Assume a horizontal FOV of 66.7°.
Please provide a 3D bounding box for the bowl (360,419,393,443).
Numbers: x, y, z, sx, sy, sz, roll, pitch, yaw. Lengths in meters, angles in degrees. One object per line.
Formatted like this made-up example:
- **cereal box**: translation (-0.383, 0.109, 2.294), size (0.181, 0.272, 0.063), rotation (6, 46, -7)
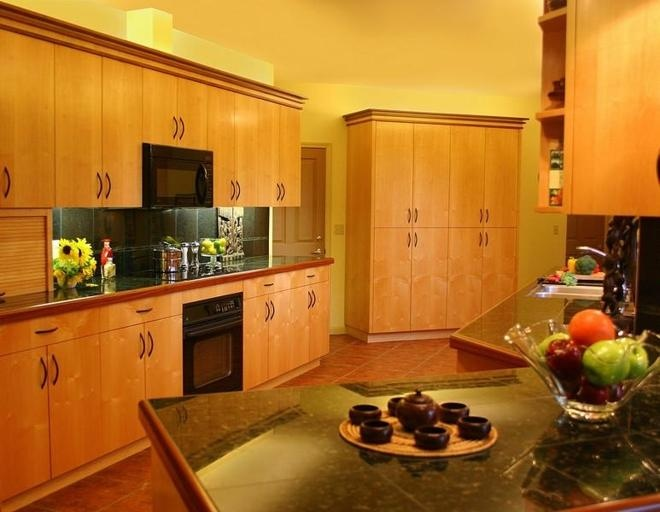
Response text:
- **bowl**: translation (0.129, 0.499, 1.430), size (0.059, 0.027, 0.060), rotation (-3, 2, 0)

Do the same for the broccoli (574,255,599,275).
- **broccoli**: translation (2.403, 0.091, 4.773), size (0.183, 0.185, 0.174), rotation (-5, -1, -26)

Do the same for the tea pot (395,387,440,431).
- **tea pot**: translation (0.254, 0.448, 1.508), size (0.109, 0.105, 0.108), rotation (-3, -1, 0)

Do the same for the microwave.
- **microwave**: translation (-1.285, -0.675, 4.203), size (0.443, 0.535, 0.828), rotation (2, 3, 24)

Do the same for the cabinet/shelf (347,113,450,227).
- **cabinet/shelf**: translation (0.948, -1.138, 6.558), size (1.485, 1.975, 0.758), rotation (-1, 2, -25)

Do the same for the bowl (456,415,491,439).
- **bowl**: translation (0.416, 0.490, 1.453), size (0.062, 0.035, 0.065), rotation (-2, -5, 0)

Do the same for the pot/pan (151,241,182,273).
- **pot/pan**: translation (-1.386, 0.003, 4.394), size (0.264, 0.287, 0.265), rotation (0, 1, -6)

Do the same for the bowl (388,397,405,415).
- **bowl**: translation (0.208, 0.459, 1.571), size (0.063, 0.042, 0.067), rotation (0, -4, 0)

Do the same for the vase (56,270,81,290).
- **vase**: translation (-1.789, 0.165, 3.444), size (0.131, 0.093, 0.127), rotation (1, 3, -12)

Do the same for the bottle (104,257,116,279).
- **bottle**: translation (-1.716, 0.098, 3.906), size (0.084, 0.156, 0.153), rotation (-3, 5, -28)

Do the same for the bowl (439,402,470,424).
- **bowl**: translation (0.379, 0.480, 1.538), size (0.074, 0.033, 0.078), rotation (-1, -2, 0)

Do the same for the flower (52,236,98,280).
- **flower**: translation (-1.759, 0.010, 3.583), size (0.290, 0.323, 0.313), rotation (-3, 0, -9)

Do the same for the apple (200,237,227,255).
- **apple**: translation (-1.149, -0.099, 4.830), size (0.185, 0.115, 0.191), rotation (0, 1, 45)

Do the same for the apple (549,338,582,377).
- **apple**: translation (0.678, 0.299, 1.452), size (0.063, 0.080, 0.068), rotation (-25, 21, 8)

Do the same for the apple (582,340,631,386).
- **apple**: translation (0.788, 0.308, 1.432), size (0.081, 0.101, 0.086), rotation (22, 12, -38)
